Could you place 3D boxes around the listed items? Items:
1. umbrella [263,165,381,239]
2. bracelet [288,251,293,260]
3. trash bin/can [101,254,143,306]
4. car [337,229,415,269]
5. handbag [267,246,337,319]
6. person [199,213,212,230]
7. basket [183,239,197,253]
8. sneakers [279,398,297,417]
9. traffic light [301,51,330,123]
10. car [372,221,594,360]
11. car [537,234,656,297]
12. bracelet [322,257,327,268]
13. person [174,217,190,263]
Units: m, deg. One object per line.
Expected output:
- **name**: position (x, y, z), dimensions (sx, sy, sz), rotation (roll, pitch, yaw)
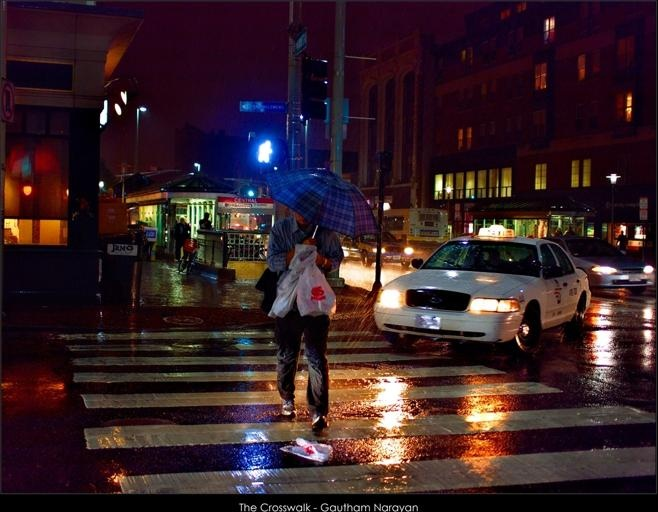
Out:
- **umbrella**: position (-0.059, -0.572, 6.135), dimensions (0.792, 0.274, 0.827), rotation (28, 18, -12)
- **bracelet**: position (-0.389, 0.004, 6.180), dimensions (0.061, 0.073, 0.067), rotation (-1, 4, -11)
- **trash bin/can**: position (-4.921, 0.557, 14.604), dimensions (0.902, 1.123, 0.729), rotation (-1, 3, -12)
- **car**: position (2.378, -0.328, 31.745), dimensions (1.728, 1.376, 3.841), rotation (0, 0, -26)
- **handbag**: position (-0.299, 0.270, 6.136), dimensions (0.613, 0.685, 0.363), rotation (3, 3, 7)
- **person**: position (-5.459, -1.547, 27.252), dimensions (0.430, 0.646, 1.110), rotation (-1, 4, -16)
- **basket**: position (-5.086, -0.339, 22.738), dimensions (0.364, 0.523, 0.527), rotation (12, -3, -9)
- **sneakers**: position (-0.431, 1.600, 6.503), dimensions (0.125, 0.161, 0.359), rotation (3, -10, -8)
- **traffic light**: position (-0.367, -4.188, 15.450), dimensions (0.644, 1.516, 0.535), rotation (0, 3, -4)
- **car**: position (3.033, 0.601, 10.869), dimensions (1.786, 1.373, 3.608), rotation (-1, -4, 34)
- **car**: position (8.742, 0.304, 20.795), dimensions (1.640, 1.415, 4.010), rotation (0, 0, -15)
- **bracelet**: position (-0.034, 0.069, 6.268), dimensions (0.057, 0.082, 0.028), rotation (-1, 3, -21)
- **person**: position (-6.164, -0.702, 25.980), dimensions (0.641, 2.011, 0.581), rotation (0, 28, -19)
